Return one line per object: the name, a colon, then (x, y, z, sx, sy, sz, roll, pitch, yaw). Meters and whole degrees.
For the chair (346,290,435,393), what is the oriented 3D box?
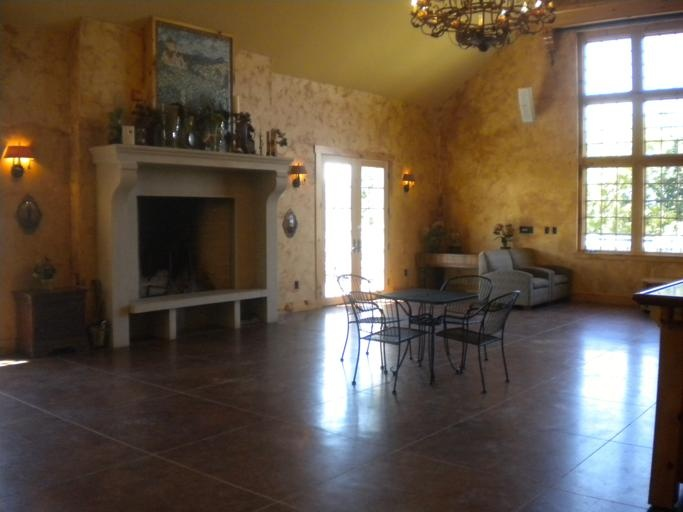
chair: (0.479, 0.861, 6.587, 0.980, 1.367, 0.894, -8, 10, -43)

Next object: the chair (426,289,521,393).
chair: (1.427, 0.829, 5.735, 0.662, 1.041, 0.765, -2, 6, -45)

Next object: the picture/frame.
picture/frame: (-2.171, -2.670, 7.636, 1.589, 1.525, 0.154, 0, 0, -41)

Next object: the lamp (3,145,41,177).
lamp: (-3.958, -1.156, 6.819, 0.364, 0.436, 0.379, 0, -1, -5)

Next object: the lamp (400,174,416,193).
lamp: (1.414, -1.572, 11.718, 0.379, 0.440, 0.271, -2, 12, -24)

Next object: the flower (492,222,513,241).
flower: (3.503, -0.501, 11.761, 0.424, 0.385, 0.466, 2, 6, 15)

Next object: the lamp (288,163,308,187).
lamp: (-0.739, -1.412, 9.483, 0.384, 0.440, 0.275, -3, 7, -26)

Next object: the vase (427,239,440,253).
vase: (2.022, -0.214, 12.016, 0.327, 0.275, 0.158, 4, 7, 32)

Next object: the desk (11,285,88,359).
desk: (-3.627, 0.812, 6.792, 0.837, 0.800, 0.410, -2, 6, -22)

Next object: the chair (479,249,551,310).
chair: (3.409, 0.427, 10.479, 1.238, 1.108, 1.258, 0, 3, 32)

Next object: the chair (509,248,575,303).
chair: (3.852, 0.366, 10.985, 1.114, 1.271, 1.135, -1, 0, -41)

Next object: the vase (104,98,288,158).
vase: (-2.021, -1.822, 7.679, 2.315, 0.705, 0.664, -5, 8, -39)

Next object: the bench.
bench: (-2.051, 0.825, 7.873, 2.040, 0.576, 0.416, -6, 8, -44)

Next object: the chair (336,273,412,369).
chair: (0.422, 0.868, 6.365, 0.812, 1.008, 0.793, -2, -13, 42)

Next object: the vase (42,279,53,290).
vase: (-3.683, 0.363, 6.853, 0.105, 0.108, 0.133, 0, 0, 34)
